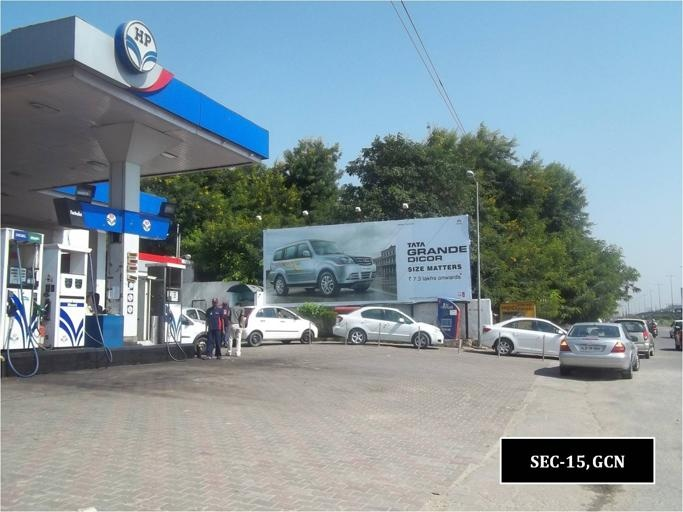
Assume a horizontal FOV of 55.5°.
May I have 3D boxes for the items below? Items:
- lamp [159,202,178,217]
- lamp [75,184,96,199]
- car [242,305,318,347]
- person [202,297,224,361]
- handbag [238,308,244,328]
[{"bbox_3d":[-5.922,-1.637,22.022,0.440,0.656,0.620,-4,-7,27],"label":"lamp"},{"bbox_3d":[-7.168,-1.761,18.154,0.397,0.432,0.394,-10,7,-43],"label":"lamp"},{"bbox_3d":[-2.812,3.000,28.137,2.604,1.234,1.431,0,-3,-35],"label":"car"},{"bbox_3d":[-4.018,2.275,20.517,0.529,2.017,0.497,0,17,-11],"label":"person"},{"bbox_3d":[-3.299,2.065,21.360,0.189,0.610,0.402,-1,-5,14],"label":"handbag"}]
